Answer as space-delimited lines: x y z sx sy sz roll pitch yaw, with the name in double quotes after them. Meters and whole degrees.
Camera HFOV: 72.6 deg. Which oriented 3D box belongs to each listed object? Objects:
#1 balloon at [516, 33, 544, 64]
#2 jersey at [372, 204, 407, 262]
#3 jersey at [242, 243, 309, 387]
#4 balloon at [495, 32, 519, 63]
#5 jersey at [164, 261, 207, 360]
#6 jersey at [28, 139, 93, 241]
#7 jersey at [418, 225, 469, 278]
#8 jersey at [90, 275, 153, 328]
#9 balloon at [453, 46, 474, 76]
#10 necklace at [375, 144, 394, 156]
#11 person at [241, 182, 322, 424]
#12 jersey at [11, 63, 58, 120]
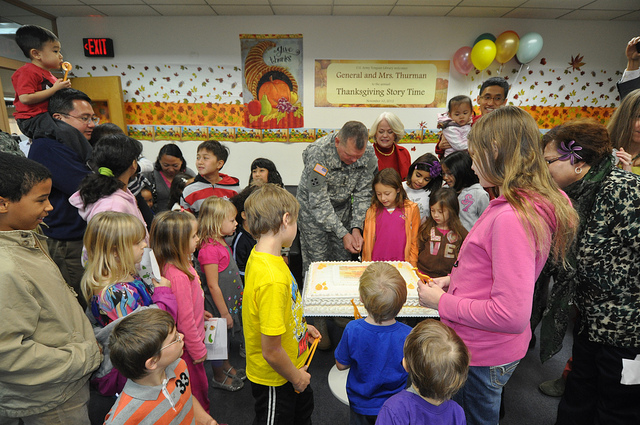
2.626 -2.092 5.562 0.264 0.365 0.209 37 40 10 "balloon"
0.650 0.199 4.019 0.368 0.669 0.113 4 34 15 "jersey"
-0.313 0.708 3.051 0.454 0.897 0.848 0 10 -2 "jersey"
2.320 -2.079 5.513 0.247 0.329 0.190 35 30 20 "balloon"
-0.965 0.713 3.073 0.179 0.773 0.320 -13 38 -10 "jersey"
-2.090 -0.172 3.527 0.449 0.841 0.177 -1 9 -5 "jersey"
1.082 0.362 3.927 0.494 0.578 0.313 9 10 20 "jersey"
-1.359 0.585 3.064 0.219 0.389 0.402 1 33 -3 "jersey"
1.810 -1.950 5.581 0.298 0.379 0.302 -8 17 -3 "balloon"
0.693 -0.680 4.719 0.189 0.114 0.060 2 9 12 "necklace"
-0.268 0.673 2.916 0.503 1.709 0.408 -2 9 -10 "person"
-2.441 -1.018 3.758 0.324 0.520 0.441 -1 11 -13 "jersey"
